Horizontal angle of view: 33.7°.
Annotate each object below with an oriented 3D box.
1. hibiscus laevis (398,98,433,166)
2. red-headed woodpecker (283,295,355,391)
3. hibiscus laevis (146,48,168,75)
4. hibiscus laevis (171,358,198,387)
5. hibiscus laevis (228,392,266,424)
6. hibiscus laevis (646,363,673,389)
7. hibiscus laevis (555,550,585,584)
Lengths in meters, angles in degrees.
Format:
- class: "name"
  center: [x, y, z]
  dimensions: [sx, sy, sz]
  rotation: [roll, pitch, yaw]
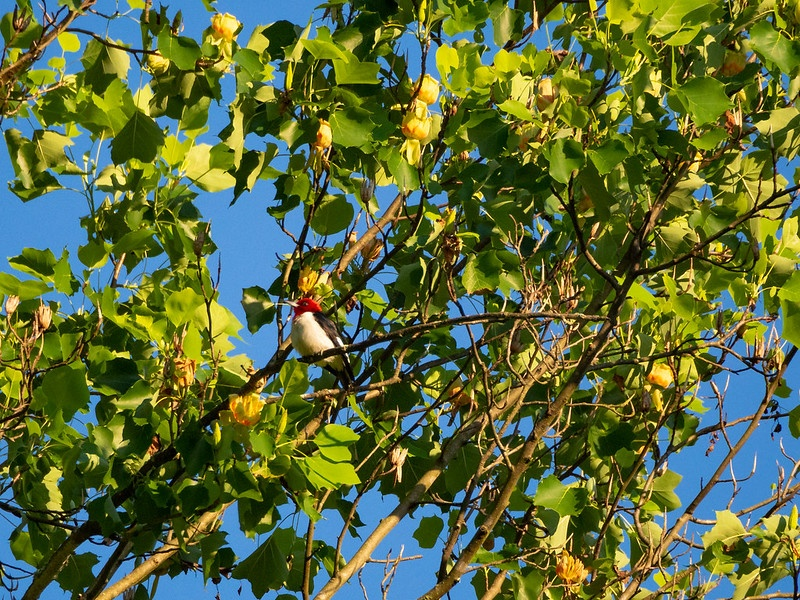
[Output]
- class: "hibiscus laevis"
  center: [0.124, -1.238, 9.409]
  dimensions: [0.214, 0.320, 0.457]
  rotation: [19, -56, 1]
- class: "red-headed woodpecker"
  center: [-0.656, 0.320, 11.033]
  dimensions: [0.626, 0.695, 0.336]
  rotation: [16, -33, -24]
- class: "hibiscus laevis"
  center: [-1.789, -1.763, 9.835]
  dimensions: [0.161, 0.103, 0.170]
  rotation: [24, -56, -1]
- class: "hibiscus laevis"
  center: [-1.484, 0.512, 9.215]
  dimensions: [0.162, 0.158, 0.198]
  rotation: [-2, -91, 15]
- class: "hibiscus laevis"
  center: [-1.034, 0.728, 9.001]
  dimensions: [0.179, 0.135, 0.231]
  rotation: [29, -52, -8]
- class: "hibiscus laevis"
  center: [1.940, 0.543, 9.791]
  dimensions: [0.164, 0.140, 0.168]
  rotation: [-1, -52, 42]
- class: "hibiscus laevis"
  center: [1.262, 1.970, 9.672]
  dimensions: [0.192, 0.234, 0.220]
  rotation: [0, -17, 7]
